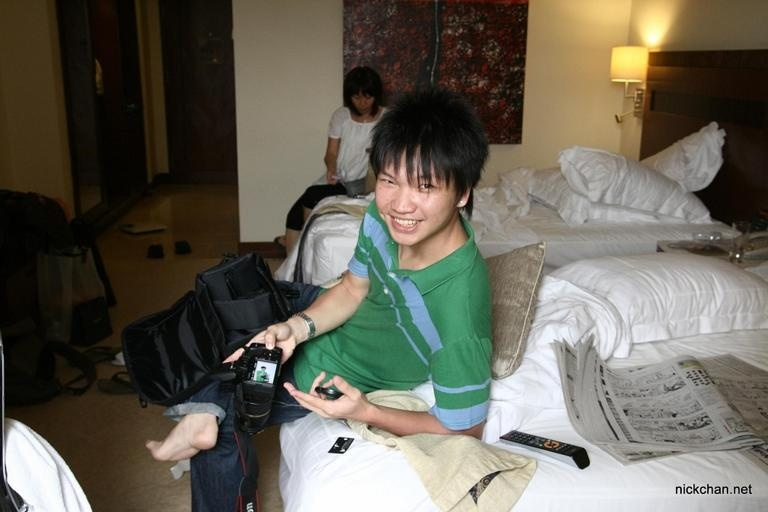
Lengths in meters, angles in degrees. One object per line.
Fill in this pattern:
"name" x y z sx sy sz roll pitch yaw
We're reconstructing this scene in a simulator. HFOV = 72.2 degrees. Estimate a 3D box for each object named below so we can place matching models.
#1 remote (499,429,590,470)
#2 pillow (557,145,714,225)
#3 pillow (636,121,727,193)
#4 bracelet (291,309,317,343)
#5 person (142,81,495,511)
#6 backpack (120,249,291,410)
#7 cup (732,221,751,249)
"remote" 0.512 0.608 1.725 0.290 0.085 0.097 7 18 37
"pillow" 1.640 -0.461 3.495 0.635 0.196 0.560 17 20 -4
"pillow" 1.930 -0.651 3.445 0.130 0.363 0.394 23 -14 -13
"bracelet" -0.289 0.262 1.875 0.033 0.085 0.092 -13 32 -12
"person" 0.046 -0.135 2.300 1.385 1.937 1.125 1 28 2
"backpack" -0.614 0.326 2.043 0.645 0.460 0.264 -30 -21 2
"cup" 1.879 -0.104 2.772 0.073 0.134 0.087 8 16 33
